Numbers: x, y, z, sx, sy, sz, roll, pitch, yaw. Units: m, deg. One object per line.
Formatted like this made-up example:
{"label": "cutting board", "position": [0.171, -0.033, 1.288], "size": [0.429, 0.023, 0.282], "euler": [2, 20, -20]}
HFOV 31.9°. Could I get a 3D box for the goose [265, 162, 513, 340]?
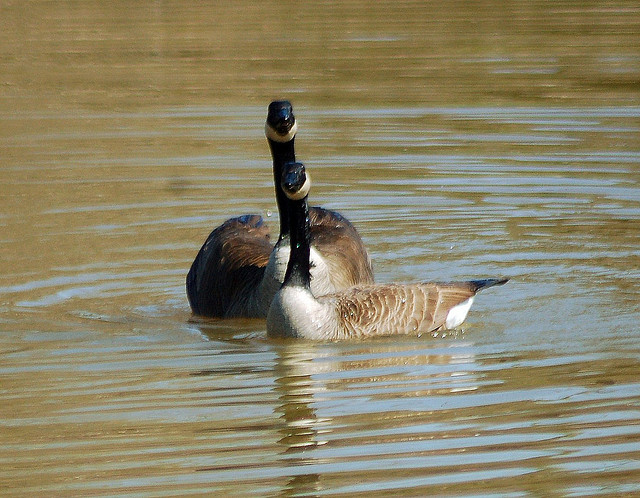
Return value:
{"label": "goose", "position": [0.200, 0.077, 11.507], "size": [2.190, 2.536, 1.828], "euler": [9, 106, 20]}
